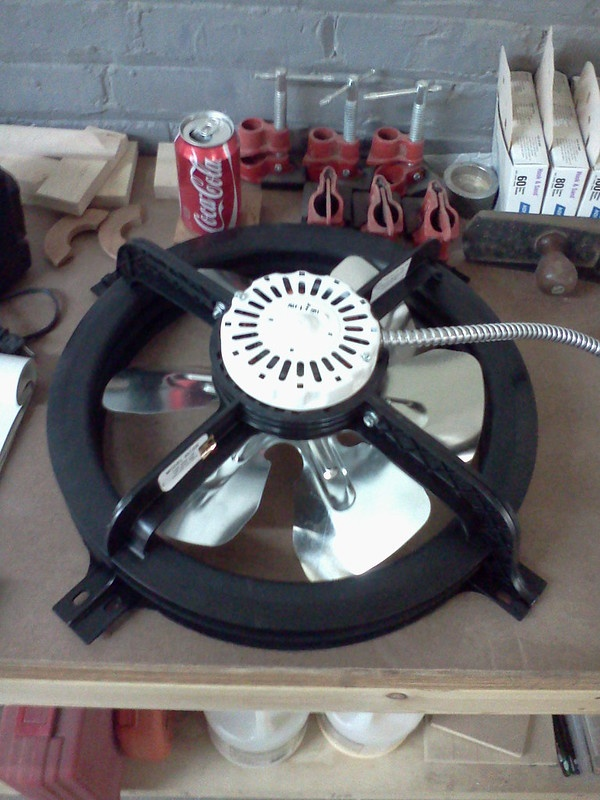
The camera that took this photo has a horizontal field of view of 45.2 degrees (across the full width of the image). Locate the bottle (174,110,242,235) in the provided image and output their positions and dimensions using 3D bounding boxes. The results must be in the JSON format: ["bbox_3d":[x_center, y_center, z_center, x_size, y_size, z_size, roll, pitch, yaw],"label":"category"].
[{"bbox_3d":[-0.167,-0.394,1.291,0.117,0.190,0.120,3,52,-4],"label":"bottle"}]

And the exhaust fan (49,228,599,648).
[{"bbox_3d":[0.017,-0.011,1.075,0.783,0.388,0.659,-7,34,-7],"label":"exhaust fan"}]
